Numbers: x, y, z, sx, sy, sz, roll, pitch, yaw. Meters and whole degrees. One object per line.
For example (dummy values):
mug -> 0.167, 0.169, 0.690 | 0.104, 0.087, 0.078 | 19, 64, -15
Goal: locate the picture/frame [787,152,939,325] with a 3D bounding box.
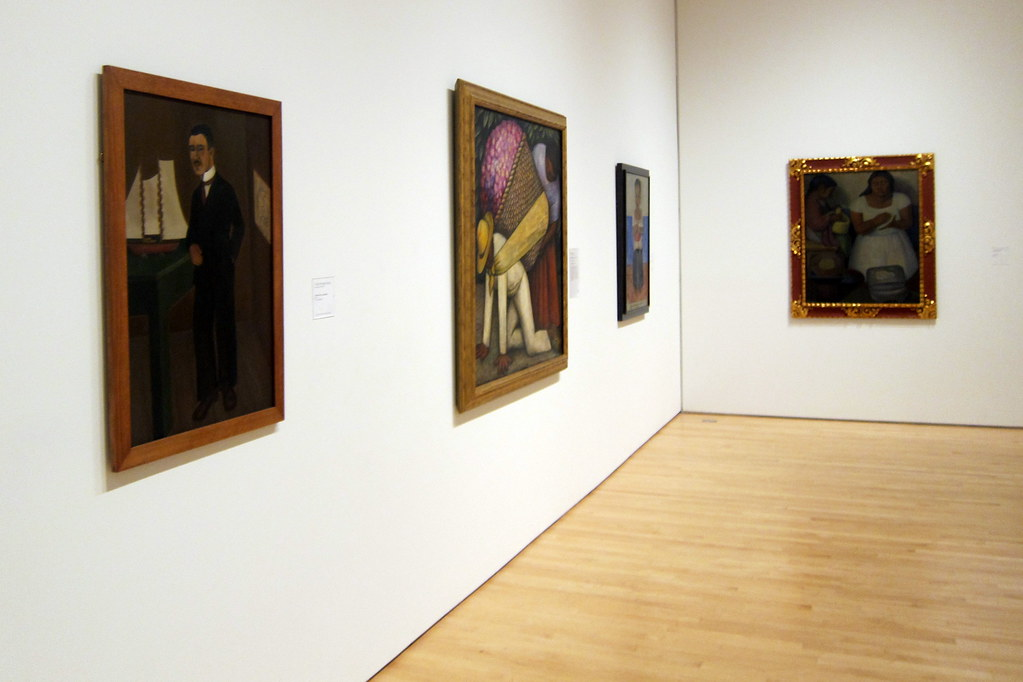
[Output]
picture/frame -> 4.736, -1.407, 9.653 | 1.917, 2.674, 0.122 | -1, 1, 17

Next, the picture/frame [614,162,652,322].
picture/frame -> 1.384, -1.108, 8.268 | 0.100, 1.752, 1.034 | 3, 9, 27
